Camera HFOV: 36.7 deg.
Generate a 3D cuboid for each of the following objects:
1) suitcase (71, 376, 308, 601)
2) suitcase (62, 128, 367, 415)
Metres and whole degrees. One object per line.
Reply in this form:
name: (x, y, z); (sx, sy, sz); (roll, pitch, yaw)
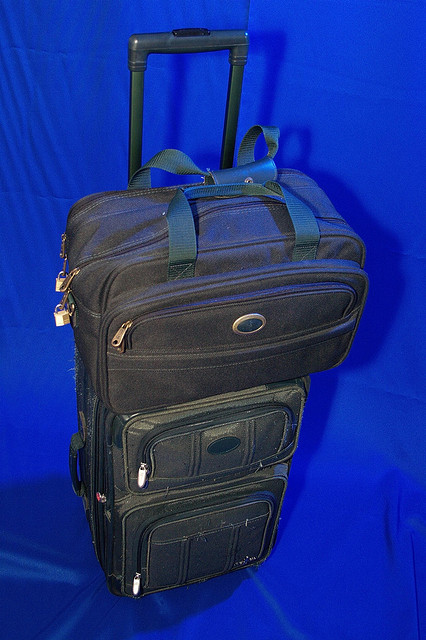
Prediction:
suitcase: (-0.071, 0.264, 1.191); (0.399, 0.519, 0.290); (-8, 34, -20)
suitcase: (0.009, -0.081, 0.944); (0.518, 0.420, 0.272); (-9, 46, -20)
